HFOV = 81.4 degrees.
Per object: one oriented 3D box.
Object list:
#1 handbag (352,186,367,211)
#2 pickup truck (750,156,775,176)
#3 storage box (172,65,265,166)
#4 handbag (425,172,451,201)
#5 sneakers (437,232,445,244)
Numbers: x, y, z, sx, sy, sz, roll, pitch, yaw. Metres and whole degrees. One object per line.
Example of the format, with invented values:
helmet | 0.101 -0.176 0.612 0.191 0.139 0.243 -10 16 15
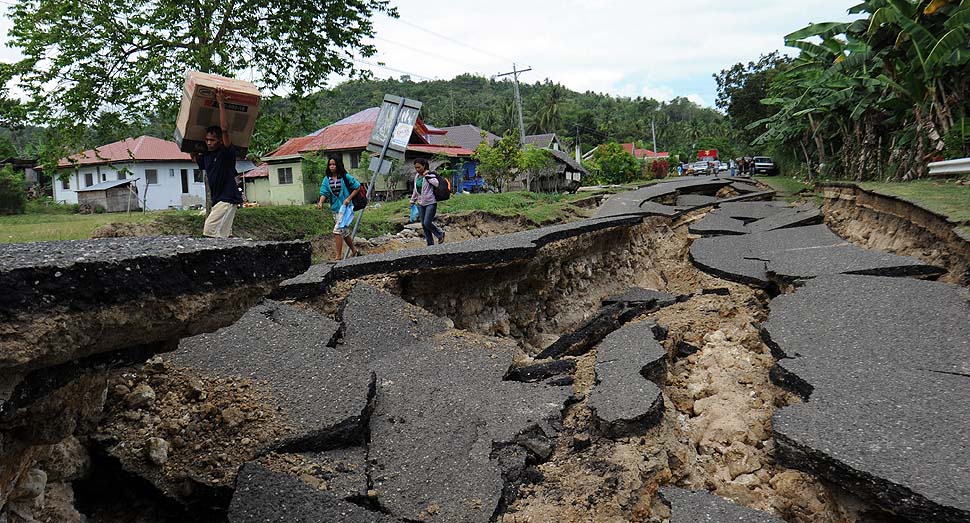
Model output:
handbag | -2.628 -1.346 11.735 0.318 0.509 0.376 8 21 -6
pickup truck | 18.309 -6.316 36.856 1.404 1.095 1.906 4 13 27
storage box | -3.898 -2.068 8.110 0.544 0.938 1.001 31 18 34
handbag | -1.044 -1.679 12.307 0.483 0.607 0.487 -3 12 -4
sneakers | -0.971 -0.568 12.728 0.139 0.167 0.386 5 17 0
